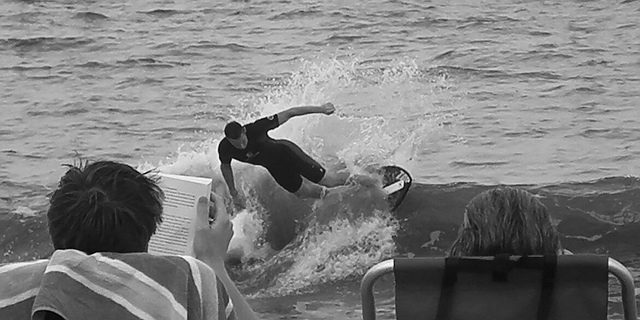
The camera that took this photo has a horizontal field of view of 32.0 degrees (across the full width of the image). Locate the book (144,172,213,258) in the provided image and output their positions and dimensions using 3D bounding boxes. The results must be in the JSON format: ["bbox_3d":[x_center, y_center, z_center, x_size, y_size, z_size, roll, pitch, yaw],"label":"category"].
[{"bbox_3d":[-1.350,0.538,10.508,1.101,0.852,0.330,0,-22,-19],"label":"book"}]

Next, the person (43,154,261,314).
[{"bbox_3d":[-1.667,0.480,10.765,1.416,1.873,1.603,3,2,-21],"label":"person"}]

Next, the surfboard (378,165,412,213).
[{"bbox_3d":[0.920,0.290,13.569,0.539,0.527,0.142,28,6,12],"label":"surfboard"}]

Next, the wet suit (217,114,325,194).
[{"bbox_3d":[-0.638,-0.072,13.658,1.304,0.895,2.504,2,1,3],"label":"wet suit"}]
